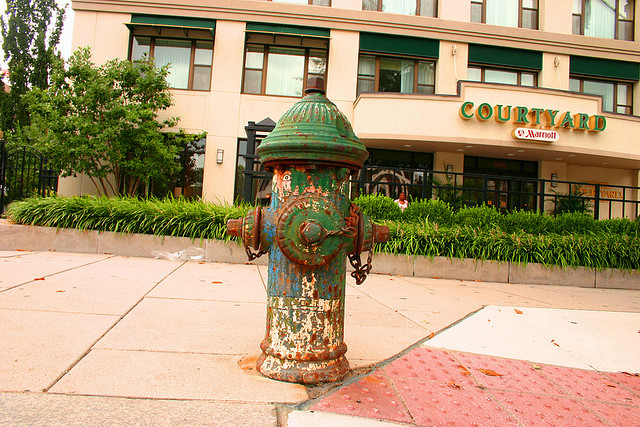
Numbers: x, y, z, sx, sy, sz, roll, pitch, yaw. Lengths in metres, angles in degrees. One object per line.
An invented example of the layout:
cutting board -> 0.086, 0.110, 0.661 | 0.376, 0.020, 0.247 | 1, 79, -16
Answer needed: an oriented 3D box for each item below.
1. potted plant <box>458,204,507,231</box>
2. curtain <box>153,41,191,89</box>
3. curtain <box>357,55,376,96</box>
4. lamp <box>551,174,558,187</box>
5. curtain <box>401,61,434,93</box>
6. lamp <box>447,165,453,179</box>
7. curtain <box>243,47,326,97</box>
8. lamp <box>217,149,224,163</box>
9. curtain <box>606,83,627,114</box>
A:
potted plant -> 4.664, 0.221, 15.395 | 1.134, 0.792, 1.420 | -2, -4, -18
curtain -> -5.880, -6.078, 21.825 | 1.261, 2.001, 0.670 | 1, 2, 18
curtain -> 1.976, -5.551, 22.507 | 0.812, 1.818, 0.172 | 5, -25, -2
lamp -> 9.970, -1.369, 22.810 | 0.256, 0.543, 0.703 | 4, 4, 23
curtain -> 4.199, -5.707, 22.709 | 1.633, 1.895, 0.125 | 1, -3, -2
lamp -> 5.367, -1.689, 22.102 | 0.217, 0.567, 0.902 | 4, 4, 13
curtain -> -1.386, -5.927, 22.168 | 3.426, 2.063, 0.078 | 3, -4, -4
lamp -> -3.892, -2.222, 21.081 | 0.228, 0.520, 0.178 | 1, 4, -19
curtain -> 13.183, -5.041, 23.812 | 0.990, 1.215, 0.157 | 2, 4, -12
